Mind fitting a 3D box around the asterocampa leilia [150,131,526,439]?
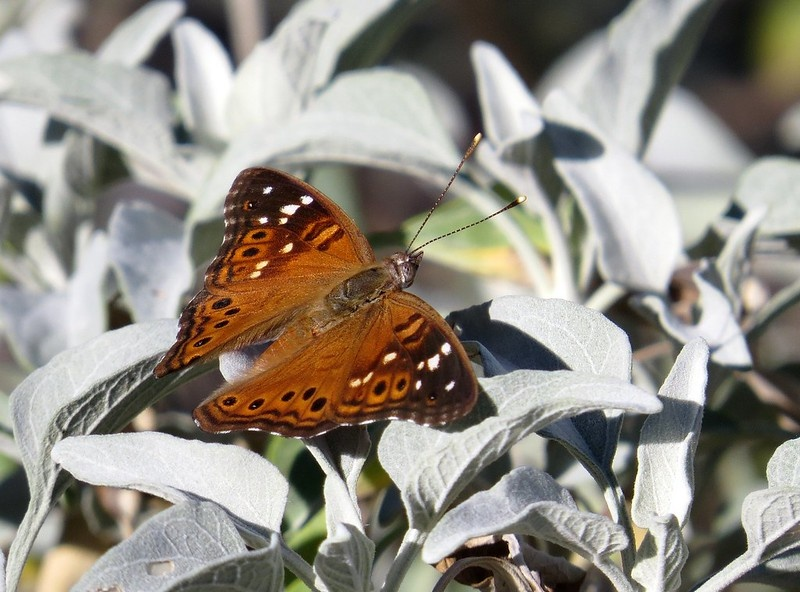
[{"bbox_3d":[-0.083,0.035,1.405,0.394,0.119,0.347,-40,78,-11],"label":"asterocampa leilia"}]
